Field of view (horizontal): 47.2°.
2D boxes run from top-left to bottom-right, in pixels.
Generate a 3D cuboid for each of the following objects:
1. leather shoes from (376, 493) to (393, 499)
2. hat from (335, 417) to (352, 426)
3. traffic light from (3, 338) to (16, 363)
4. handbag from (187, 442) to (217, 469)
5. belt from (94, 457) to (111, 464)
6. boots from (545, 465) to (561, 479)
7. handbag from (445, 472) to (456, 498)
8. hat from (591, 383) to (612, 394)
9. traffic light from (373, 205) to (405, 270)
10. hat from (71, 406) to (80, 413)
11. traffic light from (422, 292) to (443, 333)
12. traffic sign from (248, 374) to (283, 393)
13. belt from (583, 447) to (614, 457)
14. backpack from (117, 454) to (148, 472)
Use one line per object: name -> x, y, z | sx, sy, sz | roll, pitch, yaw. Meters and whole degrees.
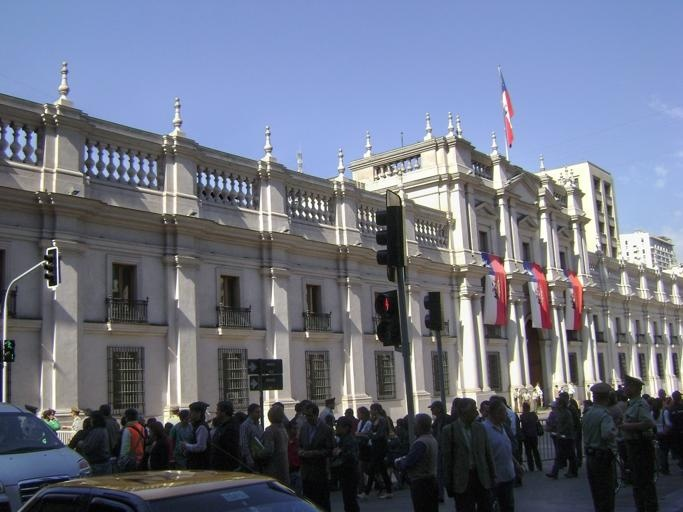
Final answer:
leather shoes -> 1.028, 5.747, 18.720 | 0.389, 0.163, 0.131 | 1, -25, 11
hat -> 0.027, 3.303, 15.579 | 0.305, 0.245, 0.224 | 9, -14, 17
traffic light -> -8.496, 2.406, 19.959 | 0.197, 0.546, 0.278 | -4, -15, 7
handbag -> -2.792, 3.956, 15.422 | 0.572, 0.770, 0.447 | -1, -17, 1
belt -> -4.851, 4.172, 15.920 | 0.129, 0.108, 0.329 | -13, -18, 35
boots -> 5.312, 5.452, 19.632 | 0.210, 0.382, 0.553 | -21, -33, 40
handbag -> 1.813, 3.793, 12.933 | 0.145, 0.331, 0.247 | -8, 12, -43
hat -> 4.586, 2.336, 13.900 | 0.237, 0.086, 0.263 | 1, 1, 12
traffic light -> 0.858, -0.354, 14.030 | 0.472, 1.201, 0.836 | 2, -16, -17
hat -> -7.163, 4.136, 21.044 | 0.169, 0.081, 0.210 | 11, -17, -31
traffic light -> 1.994, 1.170, 16.908 | 0.370, 1.008, 1.027 | -4, -15, 7
traffic sign -> -1.905, 3.168, 19.656 | 1.227, 0.586, 0.155 | 5, -16, -31
belt -> 4.446, 3.392, 13.502 | 0.463, 0.203, 0.164 | -6, -15, 15
backpack -> -4.340, 4.328, 16.249 | 0.654, 0.329, 0.477 | 0, -7, -13
